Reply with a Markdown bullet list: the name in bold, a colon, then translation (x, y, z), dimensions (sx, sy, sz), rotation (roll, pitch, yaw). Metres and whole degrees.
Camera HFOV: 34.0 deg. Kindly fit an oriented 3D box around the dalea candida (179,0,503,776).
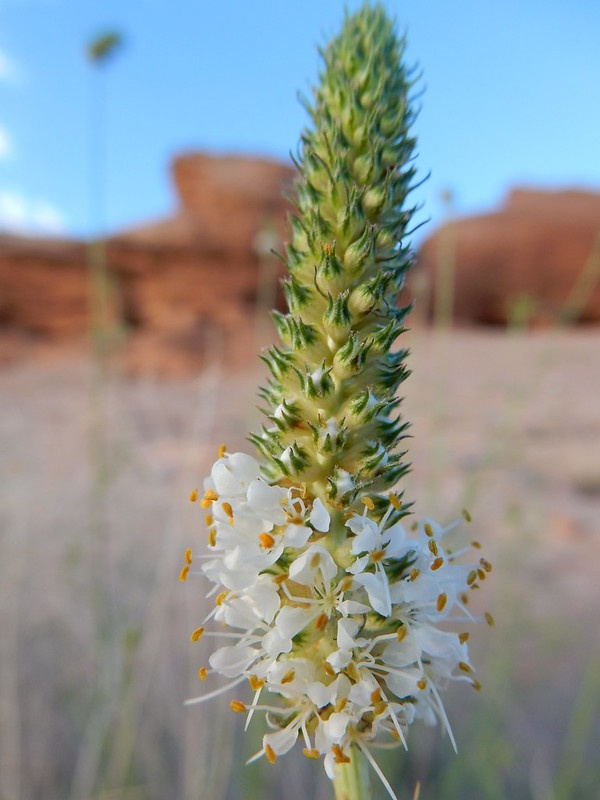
- **dalea candida**: translation (0.073, 0.121, 1.605), dimensions (0.482, 1.492, 0.546), rotation (4, 19, 7)
